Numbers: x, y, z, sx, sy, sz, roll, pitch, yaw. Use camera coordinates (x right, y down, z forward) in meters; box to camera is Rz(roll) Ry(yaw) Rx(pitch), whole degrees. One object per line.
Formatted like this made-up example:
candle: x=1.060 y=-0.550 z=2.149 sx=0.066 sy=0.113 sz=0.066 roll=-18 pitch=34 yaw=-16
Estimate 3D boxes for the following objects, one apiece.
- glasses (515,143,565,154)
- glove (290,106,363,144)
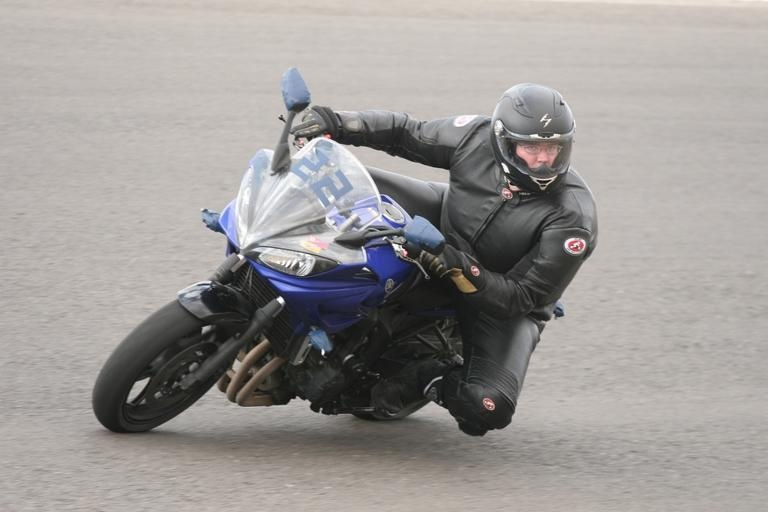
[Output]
glasses: x=1.011 y=-0.703 z=6.975 sx=0.282 sy=0.075 sz=0.062 roll=6 pitch=57 yaw=1
glove: x=-0.379 y=-0.901 z=7.312 sx=0.477 sy=0.176 sz=0.264 roll=-14 pitch=51 yaw=-26
